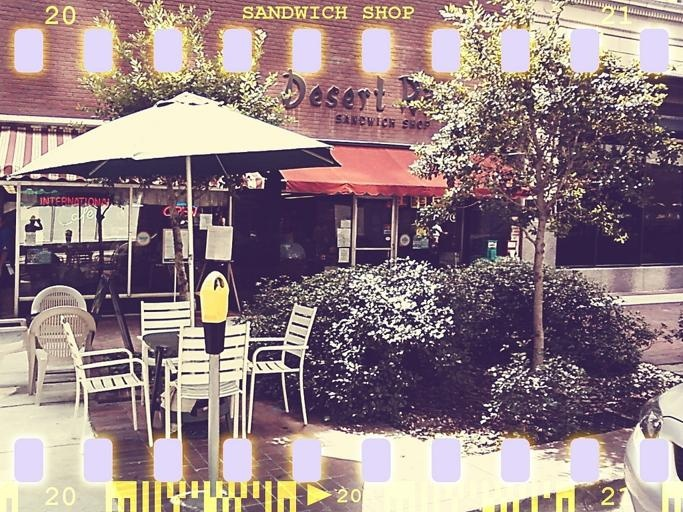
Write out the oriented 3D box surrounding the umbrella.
[{"bbox_3d":[-2.035,-0.711,10.147,3.543,2.830,3.042,10,17,32],"label":"umbrella"}]
